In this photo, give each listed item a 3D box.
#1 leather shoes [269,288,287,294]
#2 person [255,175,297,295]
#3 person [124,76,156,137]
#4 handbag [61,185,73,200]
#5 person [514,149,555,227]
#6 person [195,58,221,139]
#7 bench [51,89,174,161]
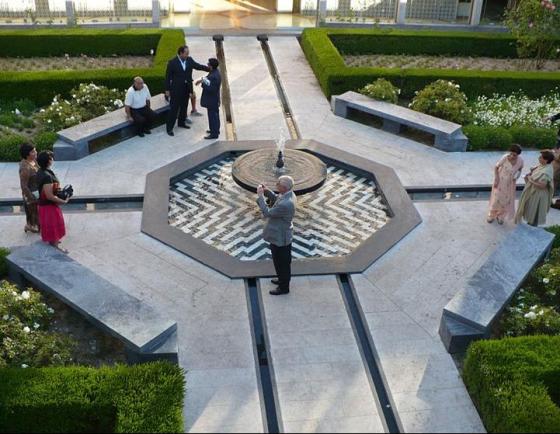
[{"bbox_3d":[-0.035,1.136,6.689,0.275,0.113,0.096,0,40,-4],"label":"leather shoes"},{"bbox_3d":[-0.042,0.280,6.504,0.541,1.844,0.550,-1,22,-2],"label":"person"},{"bbox_3d":[-3.481,-2.713,10.662,0.709,1.414,0.751,-5,45,-21],"label":"person"},{"bbox_3d":[-3.407,-0.362,6.922,0.155,0.238,0.303,-5,22,-12],"label":"handbag"},{"bbox_3d":[4.656,-0.500,7.852,0.511,1.449,0.371,11,25,26],"label":"person"},{"bbox_3d":[-1.701,-2.797,10.464,0.526,1.892,0.643,-4,22,-9],"label":"person"},{"bbox_3d":[-4.180,-2.090,10.499,0.775,1.049,2.751,15,25,33],"label":"bench"}]
